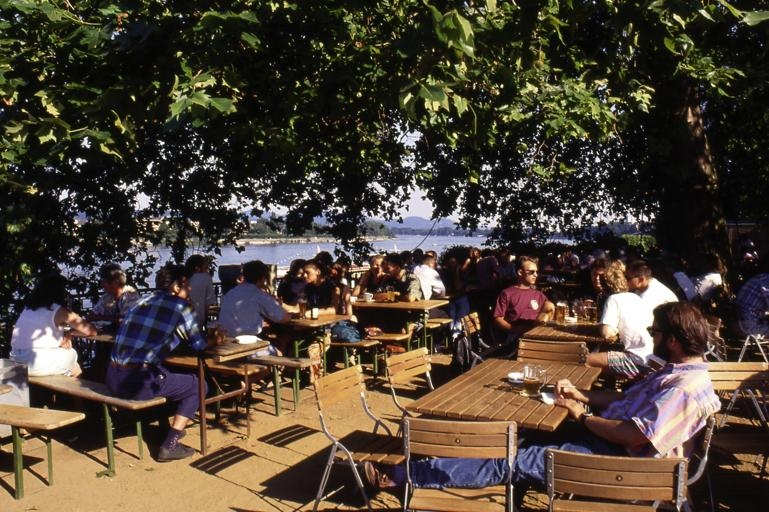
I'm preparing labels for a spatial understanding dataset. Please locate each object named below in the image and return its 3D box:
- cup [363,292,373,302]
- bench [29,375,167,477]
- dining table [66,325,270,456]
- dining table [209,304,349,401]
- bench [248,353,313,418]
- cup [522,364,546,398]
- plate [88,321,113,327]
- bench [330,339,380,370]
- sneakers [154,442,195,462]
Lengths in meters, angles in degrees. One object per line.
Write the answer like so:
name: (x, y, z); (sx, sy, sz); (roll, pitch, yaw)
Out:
cup: (-0.311, 0.761, 11.877); (0.123, 0.179, 0.112); (6, 2, 0)
bench: (-3.824, 2.143, 8.082); (0.610, 0.792, 2.847); (-14, -19, -1)
dining table: (-3.056, 2.030, 8.996); (2.709, 1.310, 0.996); (-8, -3, 33)
dining table: (-1.481, 1.215, 9.841); (2.124, 1.059, 1.370); (-2, -2, 30)
bench: (-1.374, 1.822, 9.203); (0.875, 0.855, 0.881); (4, 5, 32)
cup: (1.719, 1.407, 7.054); (0.363, 0.364, 0.218); (5, -2, -39)
plate: (-4.376, 1.023, 9.625); (0.192, 0.064, 0.157); (-5, -2, 14)
bench: (-0.548, 1.664, 11.045); (0.903, 0.813, 0.793); (-2, -11, 0)
sneakers: (-2.668, 2.490, 8.044); (0.563, 0.267, 0.187); (2, 2, -23)
